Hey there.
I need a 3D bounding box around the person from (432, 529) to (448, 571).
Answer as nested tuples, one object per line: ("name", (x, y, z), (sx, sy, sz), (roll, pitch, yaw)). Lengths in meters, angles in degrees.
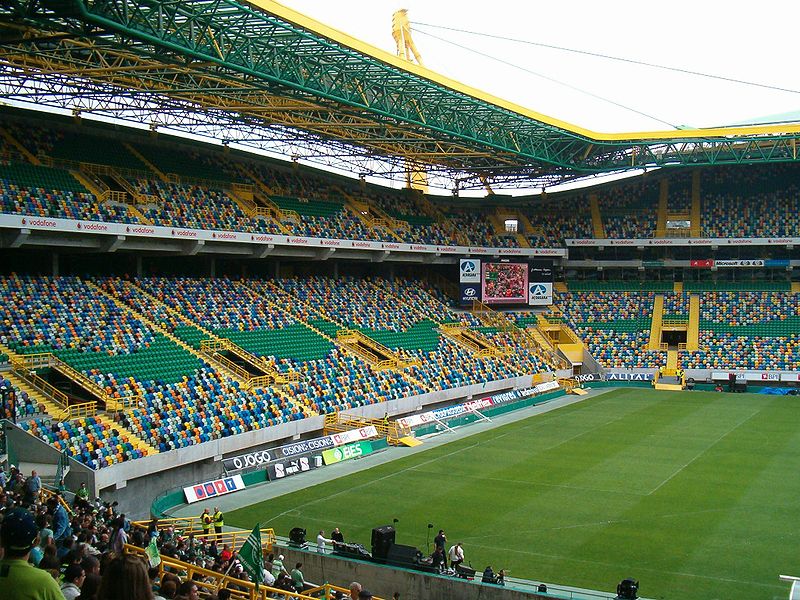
("person", (1.320, 8.341, 28.107), (0.455, 0.921, 1.210), (-1, 6, 3))
